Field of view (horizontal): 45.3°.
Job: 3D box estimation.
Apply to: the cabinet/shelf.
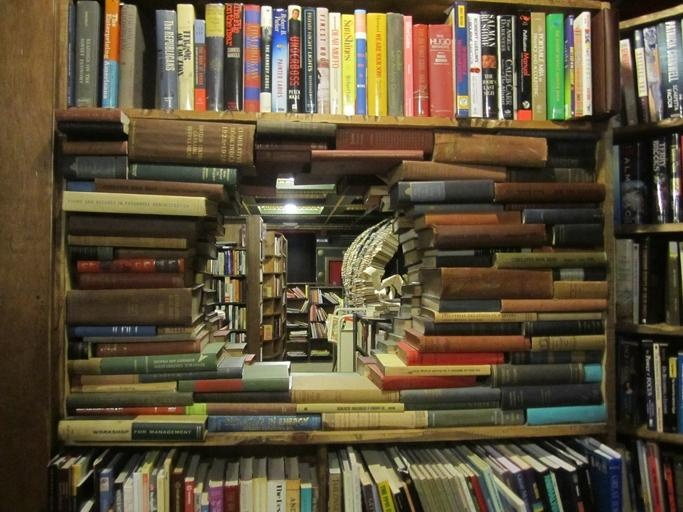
[{"bbox_3d":[0.125,-0.141,3.459,2.034,1.961,0.654,-1,2,-4],"label":"cabinet/shelf"}]
